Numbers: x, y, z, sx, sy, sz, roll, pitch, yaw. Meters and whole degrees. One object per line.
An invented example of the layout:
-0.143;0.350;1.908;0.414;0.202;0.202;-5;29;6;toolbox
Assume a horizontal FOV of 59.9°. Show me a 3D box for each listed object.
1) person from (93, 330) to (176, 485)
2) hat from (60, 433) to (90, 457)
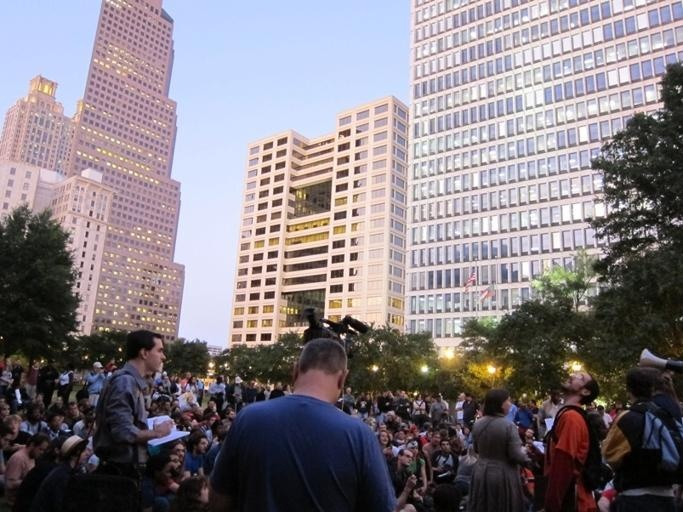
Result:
-3.086;2.148;8.671;0.926;2.134;0.469;8;-19;-20;person
-4.413;3.141;9.785;0.109;0.313;0.282;38;-4;-8;hat
